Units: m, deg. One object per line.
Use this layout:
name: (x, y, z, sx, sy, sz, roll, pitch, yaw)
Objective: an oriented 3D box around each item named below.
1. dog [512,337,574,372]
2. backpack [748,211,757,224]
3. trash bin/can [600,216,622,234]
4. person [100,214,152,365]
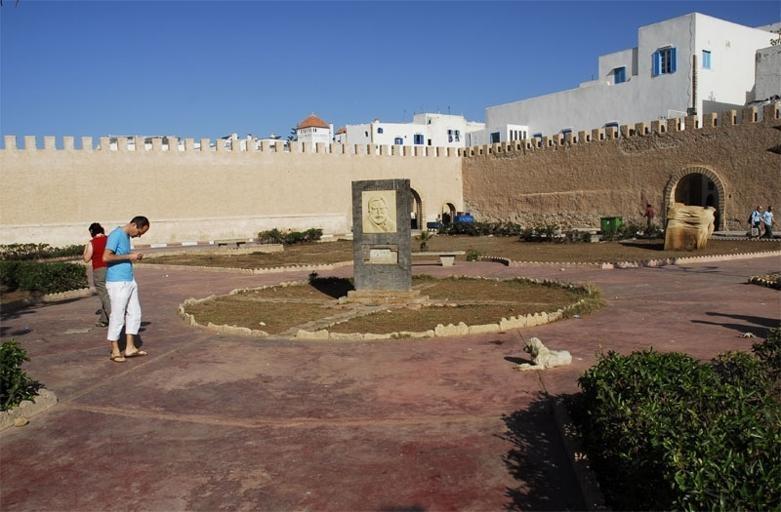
dog: (2.055, 1.301, 8.645, 0.811, 0.377, 0.263, 5, 2, -22)
backpack: (15.204, -1.632, 26.737, 0.353, 0.574, 0.675, 2, 7, 39)
trash bin/can: (10.466, -1.499, 30.082, 1.207, 0.641, 1.119, -1, 2, 5)
person: (-3.920, 0.451, 9.472, 0.725, 2.051, 1.346, -8, 14, -24)
